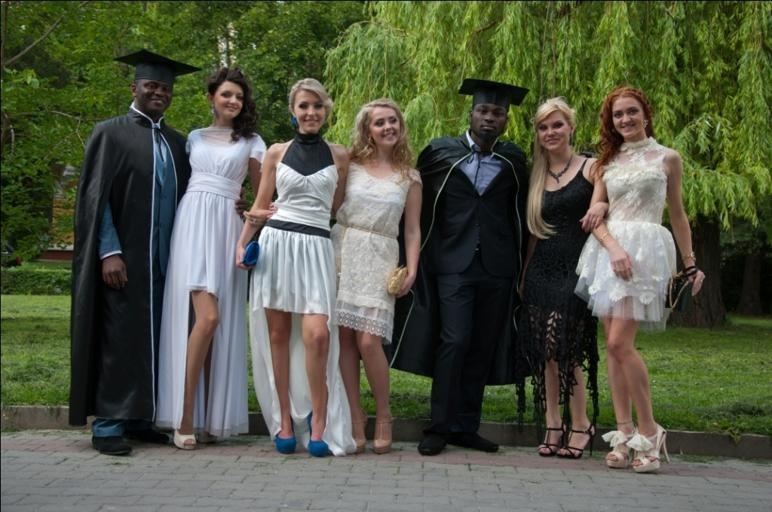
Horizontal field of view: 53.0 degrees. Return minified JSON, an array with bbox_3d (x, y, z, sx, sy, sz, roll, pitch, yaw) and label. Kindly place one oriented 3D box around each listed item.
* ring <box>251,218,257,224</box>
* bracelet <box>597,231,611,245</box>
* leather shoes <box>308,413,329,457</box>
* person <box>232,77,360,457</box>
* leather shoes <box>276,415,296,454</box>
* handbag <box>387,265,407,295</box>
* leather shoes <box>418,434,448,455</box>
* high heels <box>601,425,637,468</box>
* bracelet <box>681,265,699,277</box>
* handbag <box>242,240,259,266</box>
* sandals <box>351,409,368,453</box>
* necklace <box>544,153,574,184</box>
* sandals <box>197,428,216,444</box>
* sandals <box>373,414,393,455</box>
[{"bbox_3d":[-1.243,-0.335,7.331,0.036,0.010,0.034,9,-32,6],"label":"ring"},{"bbox_3d":[2.031,-0.167,7.248,0.095,0.116,0.044,38,34,-2],"label":"bracelet"},{"bbox_3d":[-0.652,1.665,7.336,0.151,0.422,0.175,-14,-10,-4],"label":"leather shoes"},{"bbox_3d":[-0.782,0.099,7.321,0.992,3.444,1.145,-10,18,-40],"label":"person"},{"bbox_3d":[-0.948,1.702,7.345,0.198,0.312,0.232,-1,13,-12],"label":"leather shoes"},{"bbox_3d":[0.098,0.238,7.407,0.086,0.249,0.194,24,-2,9],"label":"handbag"},{"bbox_3d":[0.446,1.799,7.447,0.188,0.178,0.292,9,14,28],"label":"leather shoes"},{"bbox_3d":[2.149,1.790,7.202,0.201,0.172,0.440,-4,-4,25],"label":"high heels"},{"bbox_3d":[2.844,0.143,7.303,0.100,0.065,0.124,-3,2,-27],"label":"bracelet"},{"bbox_3d":[-1.272,-0.023,7.280,0.166,0.218,0.110,5,12,-36],"label":"handbag"},{"bbox_3d":[-0.246,1.712,7.477,0.135,0.352,0.144,-3,-17,9],"label":"sandals"},{"bbox_3d":[1.689,-0.859,7.621,0.135,0.241,0.242,10,-5,-44],"label":"necklace"},{"bbox_3d":[-1.692,1.754,7.529,0.261,0.159,0.086,1,5,-3],"label":"sandals"},{"bbox_3d":[-0.031,1.700,7.437,0.176,0.365,0.258,1,13,-1],"label":"sandals"}]
